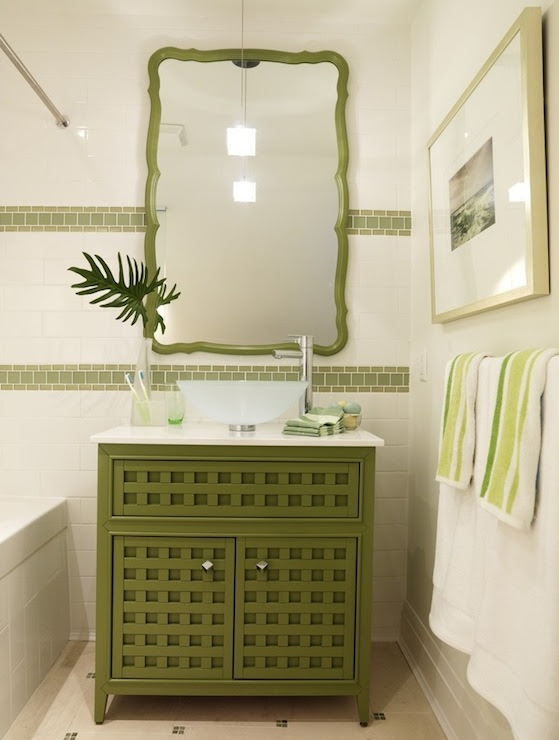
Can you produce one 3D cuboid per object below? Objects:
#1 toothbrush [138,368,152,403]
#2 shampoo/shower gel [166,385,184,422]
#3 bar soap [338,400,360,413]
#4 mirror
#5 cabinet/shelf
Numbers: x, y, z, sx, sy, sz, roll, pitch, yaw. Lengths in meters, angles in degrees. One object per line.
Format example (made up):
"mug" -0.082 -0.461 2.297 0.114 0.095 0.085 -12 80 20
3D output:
"toothbrush" -0.411 0.047 2.081 0.031 0.094 0.050 -5 5 -39
"shampoo/shower gel" -0.329 0.121 2.183 0.070 0.141 0.076 2 -7 -20
"bar soap" 0.210 0.117 2.052 0.042 0.037 0.035 -3 -36 -41
"mirror" -0.108 -0.565 2.237 0.667 1.176 0.046 0 -18 -1
"cabinet/shelf" -0.120 0.539 1.782 0.609 0.735 0.262 0 1 -3
